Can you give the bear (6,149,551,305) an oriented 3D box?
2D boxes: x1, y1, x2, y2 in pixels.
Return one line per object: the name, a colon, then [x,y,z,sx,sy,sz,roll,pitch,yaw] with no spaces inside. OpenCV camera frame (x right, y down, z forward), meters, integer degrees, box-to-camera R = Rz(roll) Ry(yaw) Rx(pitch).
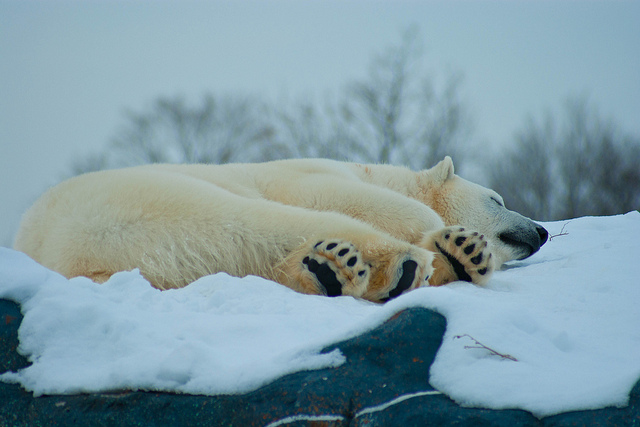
bear: [-0.303,0.090,8.527,3.568,1.025,1.179,-6,10,-1]
